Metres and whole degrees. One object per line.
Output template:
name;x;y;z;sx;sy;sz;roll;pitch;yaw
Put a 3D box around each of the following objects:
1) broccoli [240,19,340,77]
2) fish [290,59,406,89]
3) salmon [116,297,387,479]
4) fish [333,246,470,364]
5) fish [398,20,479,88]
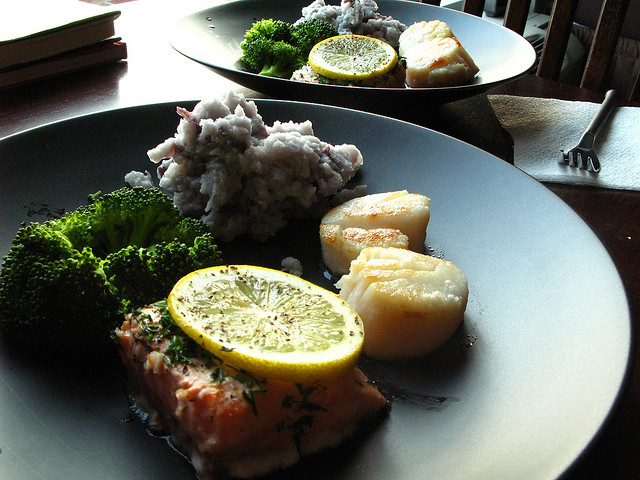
broccoli;-0.121;-0.746;1.959;0.281;0.190;0.332;0;35;-33
fish;0.105;-0.564;1.763;0.255;0.031;0.216;7;31;4
salmon;-0.159;0.245;0.868;0.321;0.094;0.298;41;41;25
fish;0.170;0.109;1.106;0.229;0.108;0.286;-11;26;-22
fish;0.418;-0.706;1.933;0.249;0.102;0.390;-11;45;4
